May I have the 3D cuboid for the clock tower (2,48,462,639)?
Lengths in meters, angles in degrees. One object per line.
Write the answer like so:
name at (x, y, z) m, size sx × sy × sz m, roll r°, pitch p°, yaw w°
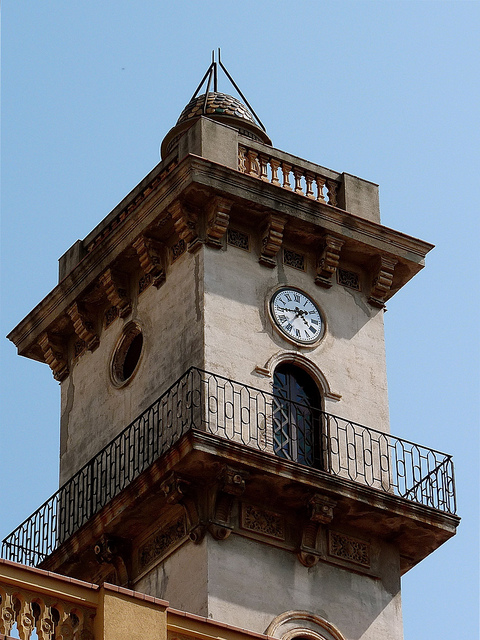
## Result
clock tower at (0.048, 1.341, 32.118) m, size 3.777 × 9.735 × 3.981 m, roll 16°, pitch -38°, yaw -28°

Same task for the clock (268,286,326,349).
clock at (0.833, -0.053, 34.497) m, size 0.901 × 1.120 × 0.082 m, roll -1°, pitch -35°, yaw -10°
